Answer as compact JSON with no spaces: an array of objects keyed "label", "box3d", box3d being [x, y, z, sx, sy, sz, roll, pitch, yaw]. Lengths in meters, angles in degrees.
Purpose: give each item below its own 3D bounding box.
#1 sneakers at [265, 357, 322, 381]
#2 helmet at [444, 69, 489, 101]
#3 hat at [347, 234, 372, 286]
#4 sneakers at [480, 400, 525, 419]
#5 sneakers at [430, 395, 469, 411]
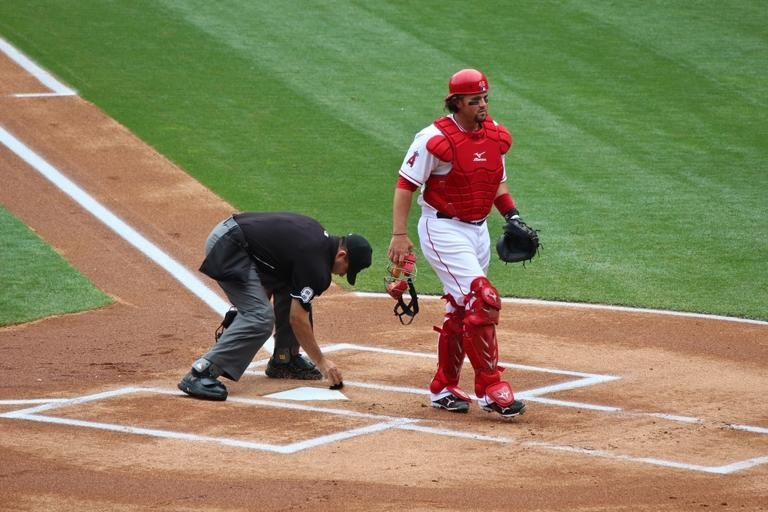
[{"label":"sneakers","box3d":[-1.043,1.278,15.480,0.702,0.229,0.240,1,-3,3]},{"label":"helmet","box3d":[0.917,-1.872,14.714,0.507,0.221,0.357,2,12,26]},{"label":"hat","box3d":[-0.287,0.057,14.947,0.311,0.601,0.455,-6,33,3]},{"label":"sneakers","box3d":[1.298,1.647,14.542,0.514,0.188,0.190,0,9,23]},{"label":"sneakers","box3d":[0.725,1.607,14.745,0.393,0.135,0.157,0,2,25]}]
